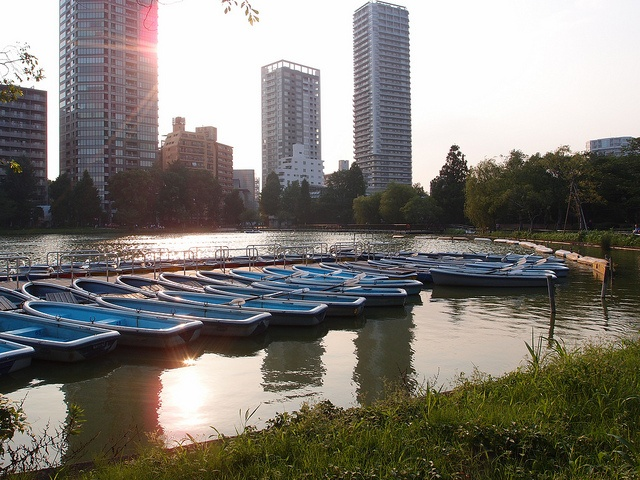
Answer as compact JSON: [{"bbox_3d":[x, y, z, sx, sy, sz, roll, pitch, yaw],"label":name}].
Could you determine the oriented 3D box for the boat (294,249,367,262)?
[{"bbox_3d":[1.059,1.051,34.545,3.930,0.777,1.279,-2,3,-27],"label":"boat"}]

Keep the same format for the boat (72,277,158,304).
[{"bbox_3d":[-7.515,1.827,20.149,3.357,0.542,1.228,13,19,28],"label":"boat"}]

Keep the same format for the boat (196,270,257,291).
[{"bbox_3d":[-3.951,1.636,23.486,3.527,0.518,0.960,11,16,38],"label":"boat"}]
